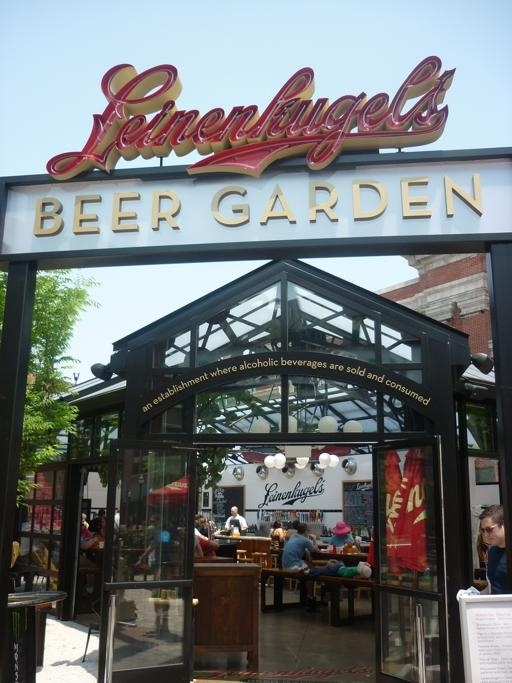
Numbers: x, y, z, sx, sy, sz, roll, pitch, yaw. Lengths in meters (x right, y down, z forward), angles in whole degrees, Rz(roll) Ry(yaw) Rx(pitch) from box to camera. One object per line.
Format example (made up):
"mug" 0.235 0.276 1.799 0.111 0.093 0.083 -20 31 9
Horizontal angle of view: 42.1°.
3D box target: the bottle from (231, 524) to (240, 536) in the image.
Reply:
"bottle" -0.564 5.210 18.292 0.225 0.225 0.218 1 -1 26

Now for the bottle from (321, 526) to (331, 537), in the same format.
"bottle" 2.511 6.756 23.664 0.368 0.316 0.195 -8 -19 35
